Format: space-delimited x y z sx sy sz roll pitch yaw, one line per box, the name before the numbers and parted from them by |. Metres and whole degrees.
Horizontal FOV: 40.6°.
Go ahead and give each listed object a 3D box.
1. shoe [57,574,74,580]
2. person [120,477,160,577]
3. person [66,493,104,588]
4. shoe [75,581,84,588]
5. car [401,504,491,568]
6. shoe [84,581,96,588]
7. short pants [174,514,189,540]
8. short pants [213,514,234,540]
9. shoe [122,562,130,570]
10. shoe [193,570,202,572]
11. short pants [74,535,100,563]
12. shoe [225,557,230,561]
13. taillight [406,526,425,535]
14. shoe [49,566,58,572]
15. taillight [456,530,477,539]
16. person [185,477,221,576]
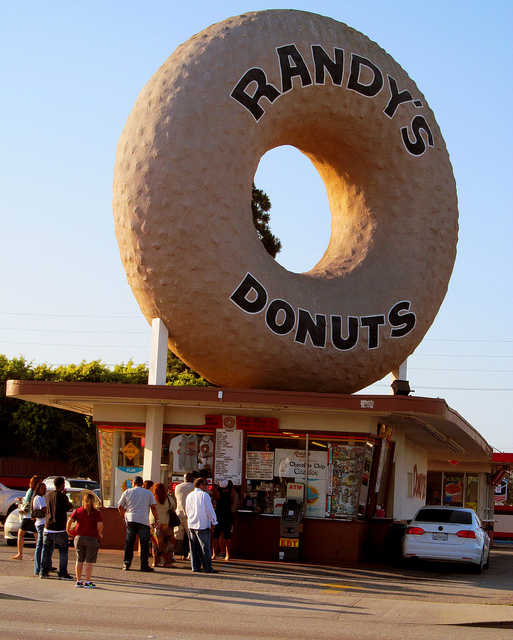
shoe | -2.626 3.506 9.461 0.203 0.113 0.092 3 -6 8
person | -1.937 3.381 11.513 0.618 1.508 2.858 4 -12 -10
person | -2.365 2.964 9.414 0.472 1.205 1.372 5 -11 -15
shoe | -2.252 3.344 8.748 0.037 0.058 0.114 1 -3 17
car | 3.783 4.353 13.704 1.370 1.251 2.643 -2 -12 22
shoe | -2.126 3.358 8.774 0.127 0.072 0.050 7 -5 -16
short pants | -1.412 3.858 12.846 0.240 0.508 0.844 3 -11 -6
short pants | -0.620 3.846 12.838 0.338 0.476 0.628 3 -11 -4
shoe | -2.065 3.859 10.814 0.075 0.144 0.136 -3 -21 13
shoe | -0.921 3.956 10.900 0.082 0.021 0.158 -9 -17 43
short pants | -2.214 2.952 8.928 0.290 0.349 0.245 5 -11 -11
shoe | -0.554 4.474 12.966 0.085 0.045 0.329 3 -12 -3
taillight | 2.952 3.937 12.917 0.101 0.148 0.441 10 -14 -34
shoe | -3.085 3.757 10.443 0.134 0.064 0.047 -1 3 -25
taillight | 3.866 3.926 12.665 0.465 0.150 0.114 7 -12 -21
person | -0.867 3.235 10.901 0.540 1.440 0.749 3 -10 -6
